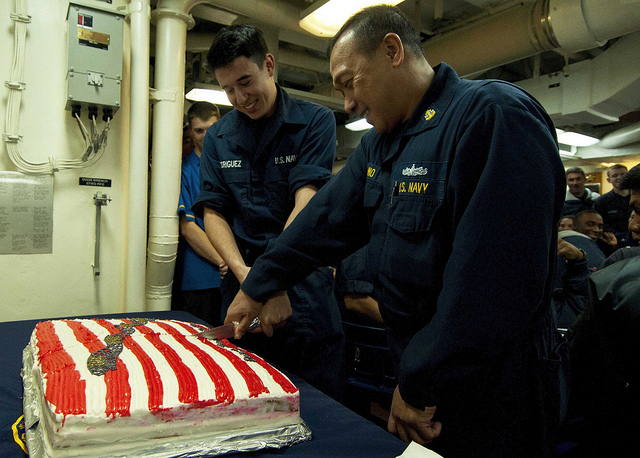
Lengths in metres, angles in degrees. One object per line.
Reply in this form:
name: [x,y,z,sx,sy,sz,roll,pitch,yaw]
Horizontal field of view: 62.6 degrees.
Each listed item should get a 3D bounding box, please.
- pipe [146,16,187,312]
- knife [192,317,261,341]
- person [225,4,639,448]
pipe: [-1.043,-0.441,3.547,0.226,1.925,0.455,1,12,-4]
knife: [-0.414,0.446,2.343,0.420,0.043,0.071,-17,-46,25]
person: [0.382,-0.014,1.949,1.024,1.583,0.606,11,15,37]
